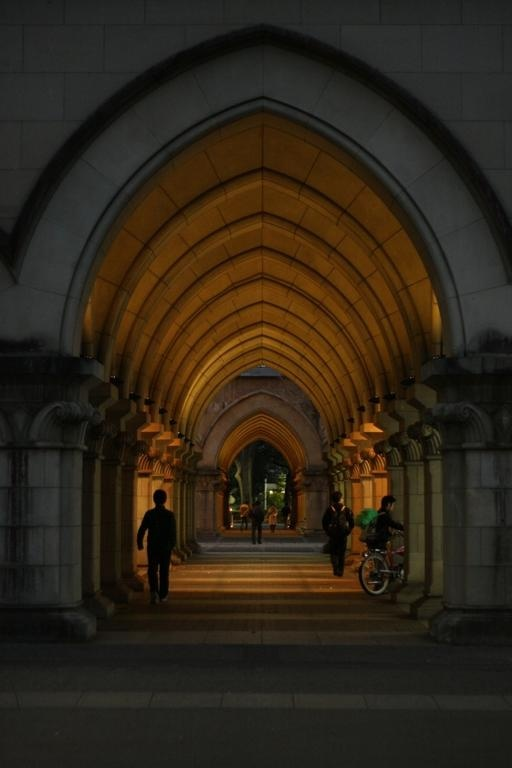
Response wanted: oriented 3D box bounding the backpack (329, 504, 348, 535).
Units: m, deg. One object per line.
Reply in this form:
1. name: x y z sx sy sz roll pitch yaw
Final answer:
1. backpack: 1.711 2.842 16.537 0.551 0.699 0.393 2 -30 4
